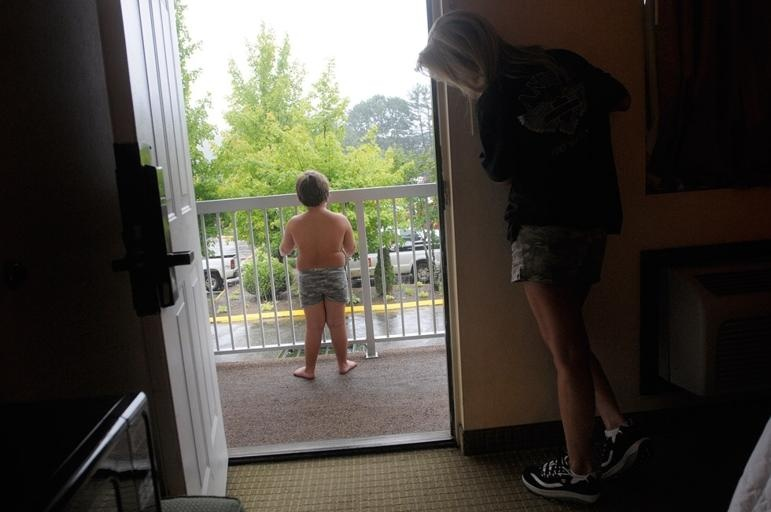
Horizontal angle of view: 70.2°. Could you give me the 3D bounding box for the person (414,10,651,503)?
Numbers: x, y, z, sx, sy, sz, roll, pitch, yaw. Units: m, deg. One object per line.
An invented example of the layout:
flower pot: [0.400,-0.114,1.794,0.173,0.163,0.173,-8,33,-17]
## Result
person: [0.624,-0.008,2.215,0.755,1.913,0.409,-1,11,21]

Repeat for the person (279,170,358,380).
person: [-0.430,0.120,3.590,0.491,1.336,0.259,-5,11,1]

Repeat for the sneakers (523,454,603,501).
sneakers: [0.720,0.865,2.260,0.317,0.166,0.137,4,9,20]
